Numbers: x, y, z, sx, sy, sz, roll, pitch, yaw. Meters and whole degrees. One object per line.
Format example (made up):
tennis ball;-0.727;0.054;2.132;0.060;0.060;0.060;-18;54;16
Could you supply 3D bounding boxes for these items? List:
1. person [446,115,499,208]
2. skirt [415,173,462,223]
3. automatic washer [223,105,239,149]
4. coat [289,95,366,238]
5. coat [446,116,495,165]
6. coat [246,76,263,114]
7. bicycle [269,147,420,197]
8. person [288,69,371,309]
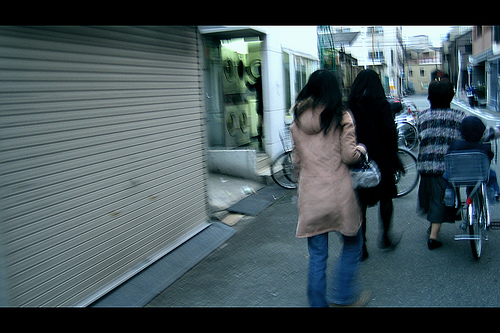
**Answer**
person;3.119;-0.028;4.125;0.878;1.080;0.359;-7;13;-5
skirt;2.814;0.384;4.413;0.555;0.634;0.293;1;15;28
automatic washer;-0.320;-0.983;8.924;0.471;1.023;0.389;-6;13;0
coat;0.838;0.080;2.934;0.668;1.035;0.368;-4;14;10
coat;2.996;-0.284;4.082;0.647;0.506;0.337;4;21;22
coat;0.441;-1.750;8.942;0.235;0.726;0.859;5;13;-37
bicycle;2.424;-0.105;7.377;3.332;1.351;1.266;1;-9;31
person;0.852;0.303;3.075;0.828;2.226;0.447;-13;15;-24
